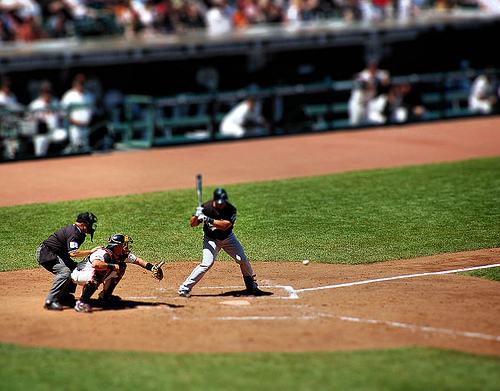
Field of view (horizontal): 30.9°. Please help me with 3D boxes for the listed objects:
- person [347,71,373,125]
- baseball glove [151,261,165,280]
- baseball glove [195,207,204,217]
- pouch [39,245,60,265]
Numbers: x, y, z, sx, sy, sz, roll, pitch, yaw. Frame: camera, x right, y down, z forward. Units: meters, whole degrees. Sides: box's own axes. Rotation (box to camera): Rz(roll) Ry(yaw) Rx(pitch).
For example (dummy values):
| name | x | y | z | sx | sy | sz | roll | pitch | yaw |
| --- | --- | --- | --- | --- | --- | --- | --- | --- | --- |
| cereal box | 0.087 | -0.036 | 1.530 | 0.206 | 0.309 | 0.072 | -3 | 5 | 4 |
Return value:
| name | x | y | z | sx | sy | sz | roll | pitch | yaw |
| --- | --- | --- | --- | --- | --- | --- | --- | --- | --- |
| person | 4.028 | -3.589 | 33.846 | 0.790 | 2.125 | 0.679 | 9 | 16 | 6 |
| baseball glove | -2.186 | 1.849 | 20.963 | 0.325 | 0.232 | 0.703 | 3 | -38 | -3 |
| baseball glove | -1.210 | 0.392 | 20.902 | 0.228 | 0.205 | 0.180 | 5 | -8 | 4 |
| pouch | -4.635 | 1.388 | 20.773 | 0.591 | 0.565 | 0.332 | -2 | -4 | -10 |
